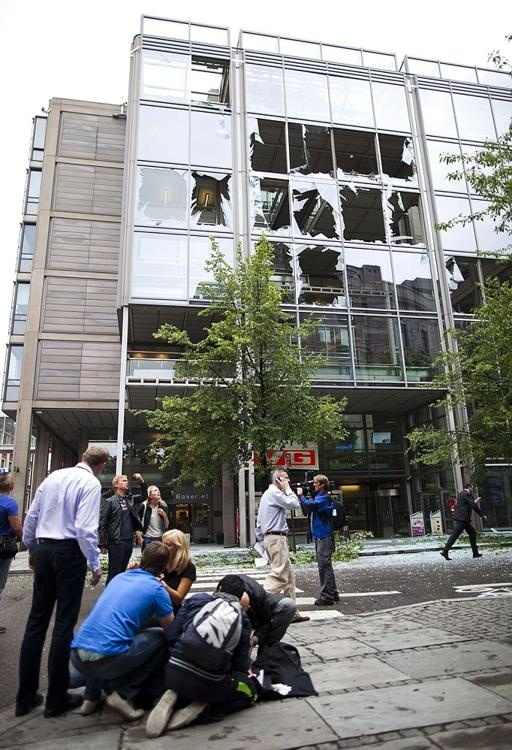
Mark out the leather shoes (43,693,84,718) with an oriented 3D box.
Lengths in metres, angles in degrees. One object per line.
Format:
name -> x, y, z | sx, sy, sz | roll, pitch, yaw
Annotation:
leather shoes -> -1.215, 2.100, 3.347 | 0.089, 0.102, 0.248 | -3, -6, 41

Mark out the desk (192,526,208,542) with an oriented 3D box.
desk -> -2.985, 8.332, 27.408 | 0.787, 0.718, 0.395 | 3, -19, -10

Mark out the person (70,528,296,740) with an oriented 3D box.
person -> -0.498, 1.688, 3.509 | 0.849, 0.978, 1.181 | 2, -7, 32

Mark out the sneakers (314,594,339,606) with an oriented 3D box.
sneakers -> 0.960, 3.073, 7.130 | 0.393, 0.158, 0.130 | 15, -28, -21

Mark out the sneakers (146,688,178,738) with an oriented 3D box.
sneakers -> -0.521, 1.870, 2.904 | 0.096, 0.084, 0.234 | 19, 6, 2
